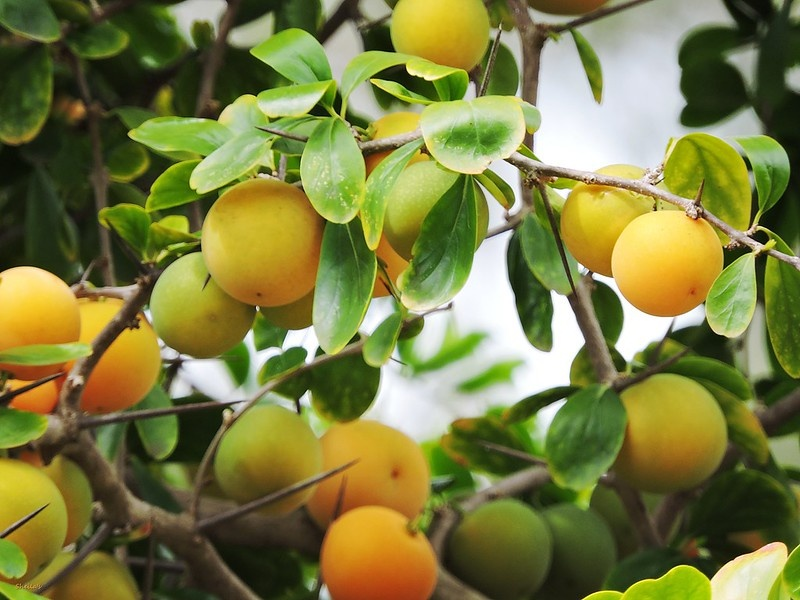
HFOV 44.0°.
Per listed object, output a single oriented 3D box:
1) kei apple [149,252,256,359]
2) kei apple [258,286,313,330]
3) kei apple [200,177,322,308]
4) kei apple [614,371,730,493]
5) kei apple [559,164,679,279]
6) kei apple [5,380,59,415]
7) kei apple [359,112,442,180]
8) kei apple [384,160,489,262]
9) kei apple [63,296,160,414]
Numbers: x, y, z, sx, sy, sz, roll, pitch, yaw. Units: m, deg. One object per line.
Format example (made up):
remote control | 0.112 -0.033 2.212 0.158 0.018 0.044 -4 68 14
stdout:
kei apple | -0.154 0.003 0.753 0.065 0.079 0.066 31 2 11
kei apple | -0.084 0.003 0.726 0.029 0.031 0.037 -15 -47 -9
kei apple | -0.097 -0.040 0.727 0.085 0.112 0.093 -8 -11 -3
kei apple | 0.213 0.126 0.763 0.083 0.111 0.090 7 -18 -2
kei apple | 0.150 -0.046 0.721 0.068 0.088 0.070 -7 -12 36
kei apple | -0.272 0.070 0.735 0.034 0.027 0.032 -2 4 39
kei apple | -0.007 -0.115 0.744 0.045 0.059 0.046 27 20 28
kei apple | 0.012 -0.058 0.712 0.045 0.058 0.047 17 -6 -6
kei apple | -0.206 0.035 0.750 0.072 0.095 0.077 3 3 10
